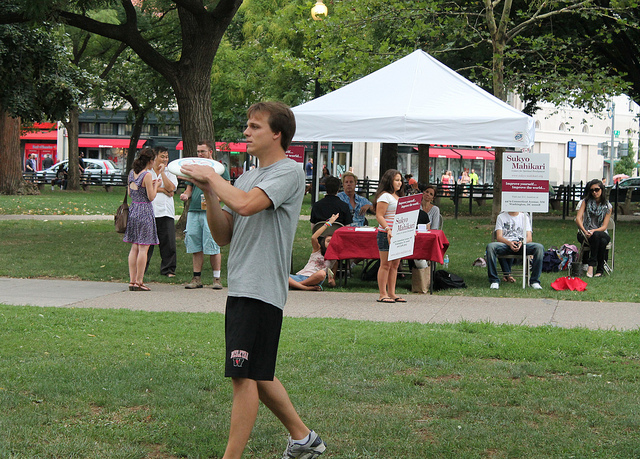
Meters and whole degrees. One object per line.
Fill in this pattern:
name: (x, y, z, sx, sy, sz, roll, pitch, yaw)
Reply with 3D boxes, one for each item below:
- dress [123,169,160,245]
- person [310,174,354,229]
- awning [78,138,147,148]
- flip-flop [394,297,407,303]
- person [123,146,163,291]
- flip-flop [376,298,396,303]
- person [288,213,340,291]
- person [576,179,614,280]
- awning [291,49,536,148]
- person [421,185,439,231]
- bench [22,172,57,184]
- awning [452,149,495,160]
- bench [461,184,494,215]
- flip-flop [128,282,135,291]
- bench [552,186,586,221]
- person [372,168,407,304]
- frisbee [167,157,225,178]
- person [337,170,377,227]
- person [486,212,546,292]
dress: (-2.977, -0.364, 13.021, 0.558, 1.253, 0.381, 1, 2, 0)
person: (0.214, -0.322, 14.600, 0.851, 1.280, 0.688, 1, -2, 8)
awning: (-18.211, -7.244, 65.766, 4.203, 0.808, 0.944, 1, 2, 2)
flip-flop: (1.341, 1.168, 12.870, 0.183, 0.065, 0.179, 2, 3, 27)
person: (-2.990, -0.158, 13.039, 0.589, 2.389, 0.464, 1, 2, 4)
flip-flop: (1.068, 1.170, 12.824, 0.226, 0.055, 0.091, -2, -2, 17)
person: (0.040, 0.441, 14.141, 0.941, 1.443, 1.037, 13, -11, -31)
person: (5.422, -0.026, 15.546, 0.659, 1.862, 0.512, 1, 2, 8)
awning: (2.087, -2.941, 16.891, 4.695, 2.067, 4.748, 0, 3, 8)
person: (2.076, -0.415, 14.820, 0.334, 0.816, 0.791, 1, 2, 7)
bench: (-15.338, -2.778, 42.927, 1.451, 0.683, 6.429, 0, 3, -18)
awning: (10.759, -5.267, 54.926, 1.498, 0.651, 4.889, 2, 3, 29)
bench: (6.202, -1.216, 31.063, 1.066, 1.116, 3.973, 2, 2, 14)
flip-flop: (-3.162, 0.958, 13.117, 0.112, 0.123, 0.309, 0, -6, 0)
bench: (8.643, -0.895, 27.367, 0.491, 0.874, 1.560, 3, 4, 28)
person: (1.147, 0.124, 12.729, 0.500, 2.169, 0.804, 1, 2, 5)
frisbee: (-1.150, -0.566, 7.234, 0.524, 0.192, 0.384, 1, 2, -11)
person: (0.584, -0.447, 14.977, 0.625, 1.255, 0.858, -12, -7, 43)
person: (3.564, 0.385, 14.370, 1.014, 1.371, 1.002, 1, 2, 12)
